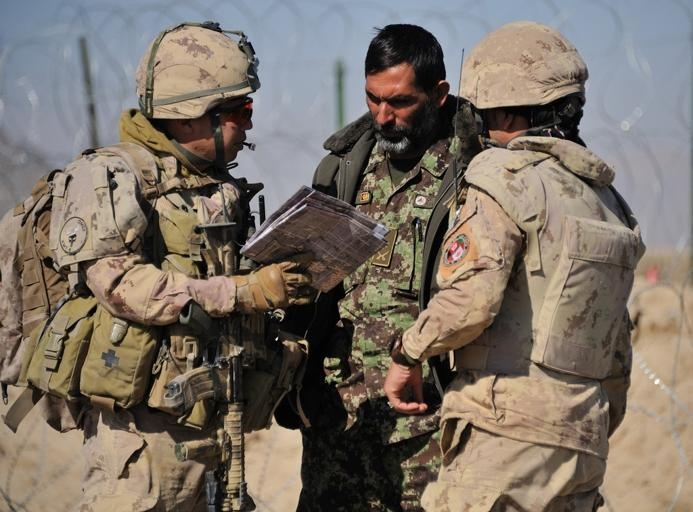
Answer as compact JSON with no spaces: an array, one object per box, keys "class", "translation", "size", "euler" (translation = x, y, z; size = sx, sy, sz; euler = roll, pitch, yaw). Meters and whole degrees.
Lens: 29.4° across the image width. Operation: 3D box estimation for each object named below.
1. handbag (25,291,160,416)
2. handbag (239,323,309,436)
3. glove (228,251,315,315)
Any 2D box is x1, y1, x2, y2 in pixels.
[{"class":"handbag","translation":[-1.460,0.575,7.800],"size":[0.525,0.562,0.294],"euler":[13,-17,30]},{"class":"handbag","translation":[-0.444,0.769,8.187],"size":[0.225,0.580,0.443],"euler":[21,-9,11]},{"class":"glove","translation":[-0.425,0.182,7.839],"size":[0.492,0.320,0.124],"euler":[5,0,-7]}]
